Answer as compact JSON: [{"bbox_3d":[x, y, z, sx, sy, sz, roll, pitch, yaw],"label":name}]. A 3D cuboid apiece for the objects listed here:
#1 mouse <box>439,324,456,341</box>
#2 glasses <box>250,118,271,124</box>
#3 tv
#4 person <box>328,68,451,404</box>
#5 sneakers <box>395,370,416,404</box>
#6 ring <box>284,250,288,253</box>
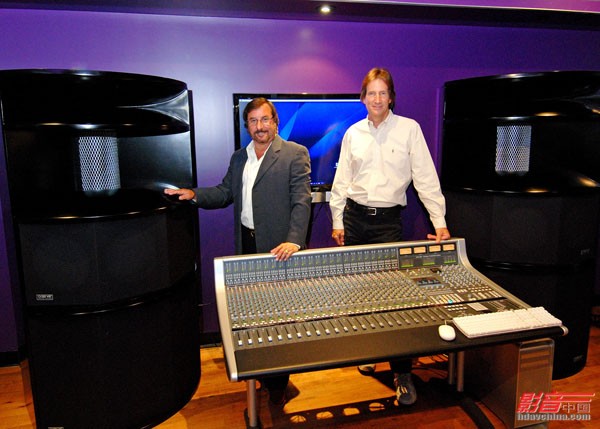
[{"bbox_3d":[0.761,0.609,2.499,0.095,0.070,0.092,-4,9,2],"label":"mouse"},{"bbox_3d":[-0.287,-0.657,3.394,0.137,0.044,0.033,-5,9,-5],"label":"glasses"},{"bbox_3d":[0.069,-0.525,3.677,1.008,0.679,0.042,-2,5,-9],"label":"tv"},{"bbox_3d":[0.611,0.137,3.461,0.839,2.314,0.570,-2,10,14],"label":"person"},{"bbox_3d":[0.743,1.220,3.399,0.149,0.203,0.149,-3,10,9],"label":"sneakers"},{"bbox_3d":[-0.085,0.218,2.847,0.015,0.004,0.014,3,18,-1],"label":"ring"}]
